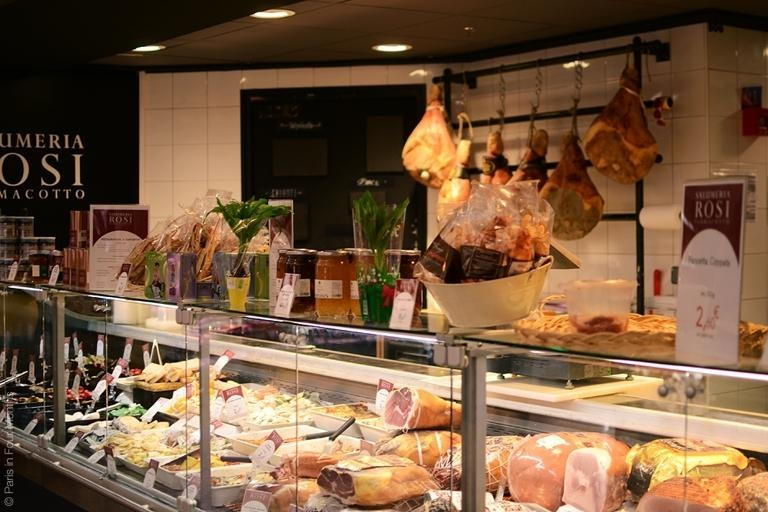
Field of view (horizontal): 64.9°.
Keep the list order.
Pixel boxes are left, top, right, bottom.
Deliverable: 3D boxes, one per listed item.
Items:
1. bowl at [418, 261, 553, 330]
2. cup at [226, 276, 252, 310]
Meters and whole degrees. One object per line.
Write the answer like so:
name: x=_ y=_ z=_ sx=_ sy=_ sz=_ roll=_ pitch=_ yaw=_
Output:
bowl: x=0.297 y=0.097 z=1.771 sx=0.378 sy=0.156 sz=0.373 roll=-9 pitch=6 yaw=1
cup: x=-0.570 y=0.142 z=2.373 sx=0.098 sy=0.108 sz=0.097 roll=2 pitch=-5 yaw=0
